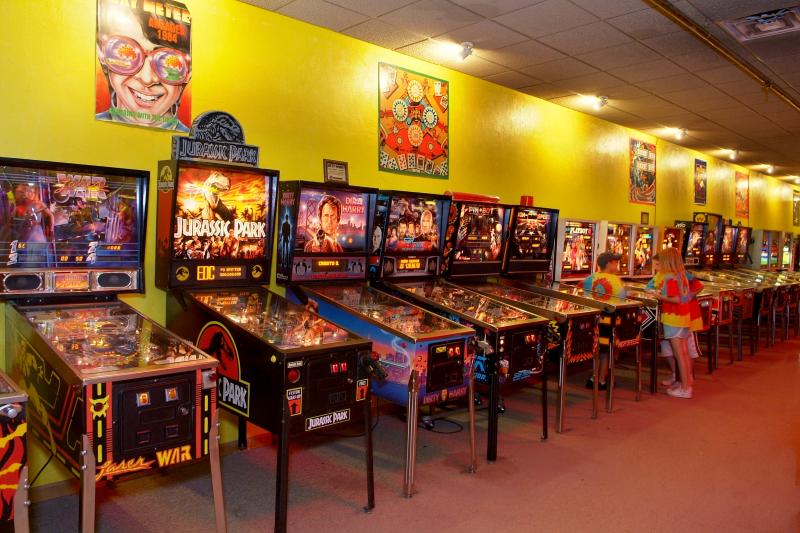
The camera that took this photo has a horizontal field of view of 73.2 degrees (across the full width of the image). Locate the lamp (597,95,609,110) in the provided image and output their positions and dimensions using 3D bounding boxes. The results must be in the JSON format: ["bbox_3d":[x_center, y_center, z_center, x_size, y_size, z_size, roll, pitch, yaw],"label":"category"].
[{"bbox_3d":[2.694,-2.193,7.196,0.138,0.136,0.246,16,24,14],"label":"lamp"}]

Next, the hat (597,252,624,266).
[{"bbox_3d":[2.587,-0.077,6.636,0.258,0.129,0.176,-22,12,-9],"label":"hat"}]

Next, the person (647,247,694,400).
[{"bbox_3d":[3.275,0.636,6.444,0.514,1.695,0.650,5,8,23],"label":"person"}]

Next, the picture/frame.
[{"bbox_3d":[0.098,-1.586,5.834,1.448,1.425,0.068,-1,2,-39],"label":"picture/frame"}]
